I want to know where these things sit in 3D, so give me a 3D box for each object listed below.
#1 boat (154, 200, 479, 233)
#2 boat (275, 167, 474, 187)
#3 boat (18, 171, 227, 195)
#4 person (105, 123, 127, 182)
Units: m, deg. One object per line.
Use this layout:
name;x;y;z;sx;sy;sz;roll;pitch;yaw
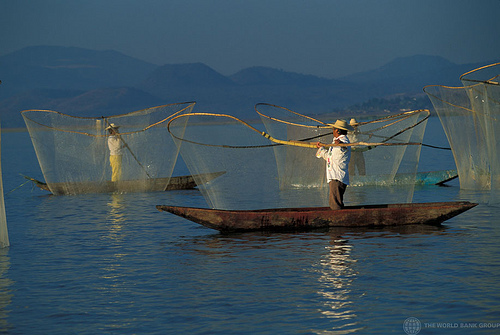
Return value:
boat;1.919;1.261;27.481;7.354;0.805;0.798;-2;2;-3
boat;3.911;0.394;32.423;5.324;0.512;1.232;-3;2;-18
boat;-3.763;0.499;32.411;5.161;0.371;0.747;-1;-7;-10
person;-4.142;-0.474;32.841;0.563;1.790;0.257;-5;3;-4
